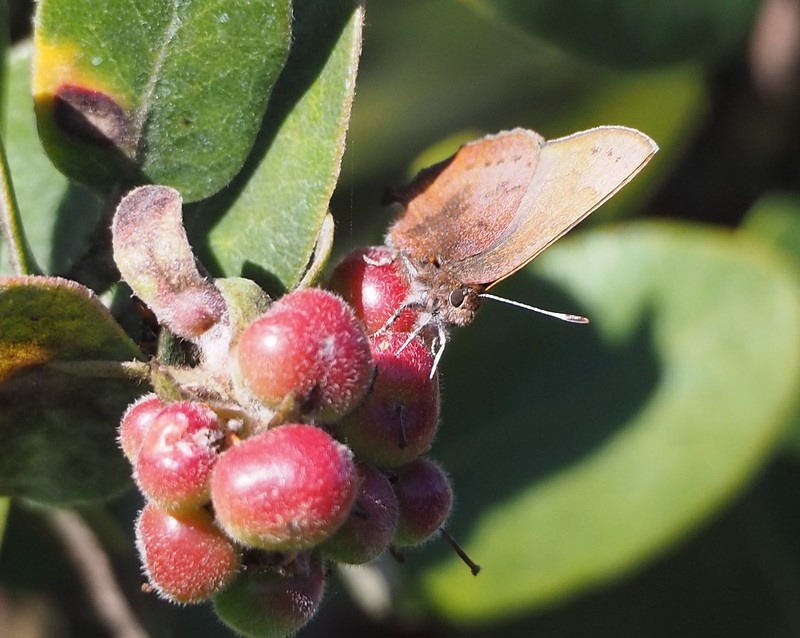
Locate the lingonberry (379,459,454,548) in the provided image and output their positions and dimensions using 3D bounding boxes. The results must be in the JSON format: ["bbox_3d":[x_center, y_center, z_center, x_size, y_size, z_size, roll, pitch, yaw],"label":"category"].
[{"bbox_3d":[0.029,0.321,1.976,0.109,0.171,0.105,-13,24,-25],"label":"lingonberry"}]

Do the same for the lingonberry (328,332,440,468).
[{"bbox_3d":[-0.026,0.147,1.924,0.130,0.292,0.154,-8,20,-32],"label":"lingonberry"}]

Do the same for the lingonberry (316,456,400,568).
[{"bbox_3d":[-0.065,0.361,1.890,0.139,0.147,0.198,-5,71,32],"label":"lingonberry"}]

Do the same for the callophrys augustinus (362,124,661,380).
[{"bbox_3d":[0.157,-0.246,2.276,0.708,0.389,0.434,-31,67,-23],"label":"callophrys augustinus"}]
